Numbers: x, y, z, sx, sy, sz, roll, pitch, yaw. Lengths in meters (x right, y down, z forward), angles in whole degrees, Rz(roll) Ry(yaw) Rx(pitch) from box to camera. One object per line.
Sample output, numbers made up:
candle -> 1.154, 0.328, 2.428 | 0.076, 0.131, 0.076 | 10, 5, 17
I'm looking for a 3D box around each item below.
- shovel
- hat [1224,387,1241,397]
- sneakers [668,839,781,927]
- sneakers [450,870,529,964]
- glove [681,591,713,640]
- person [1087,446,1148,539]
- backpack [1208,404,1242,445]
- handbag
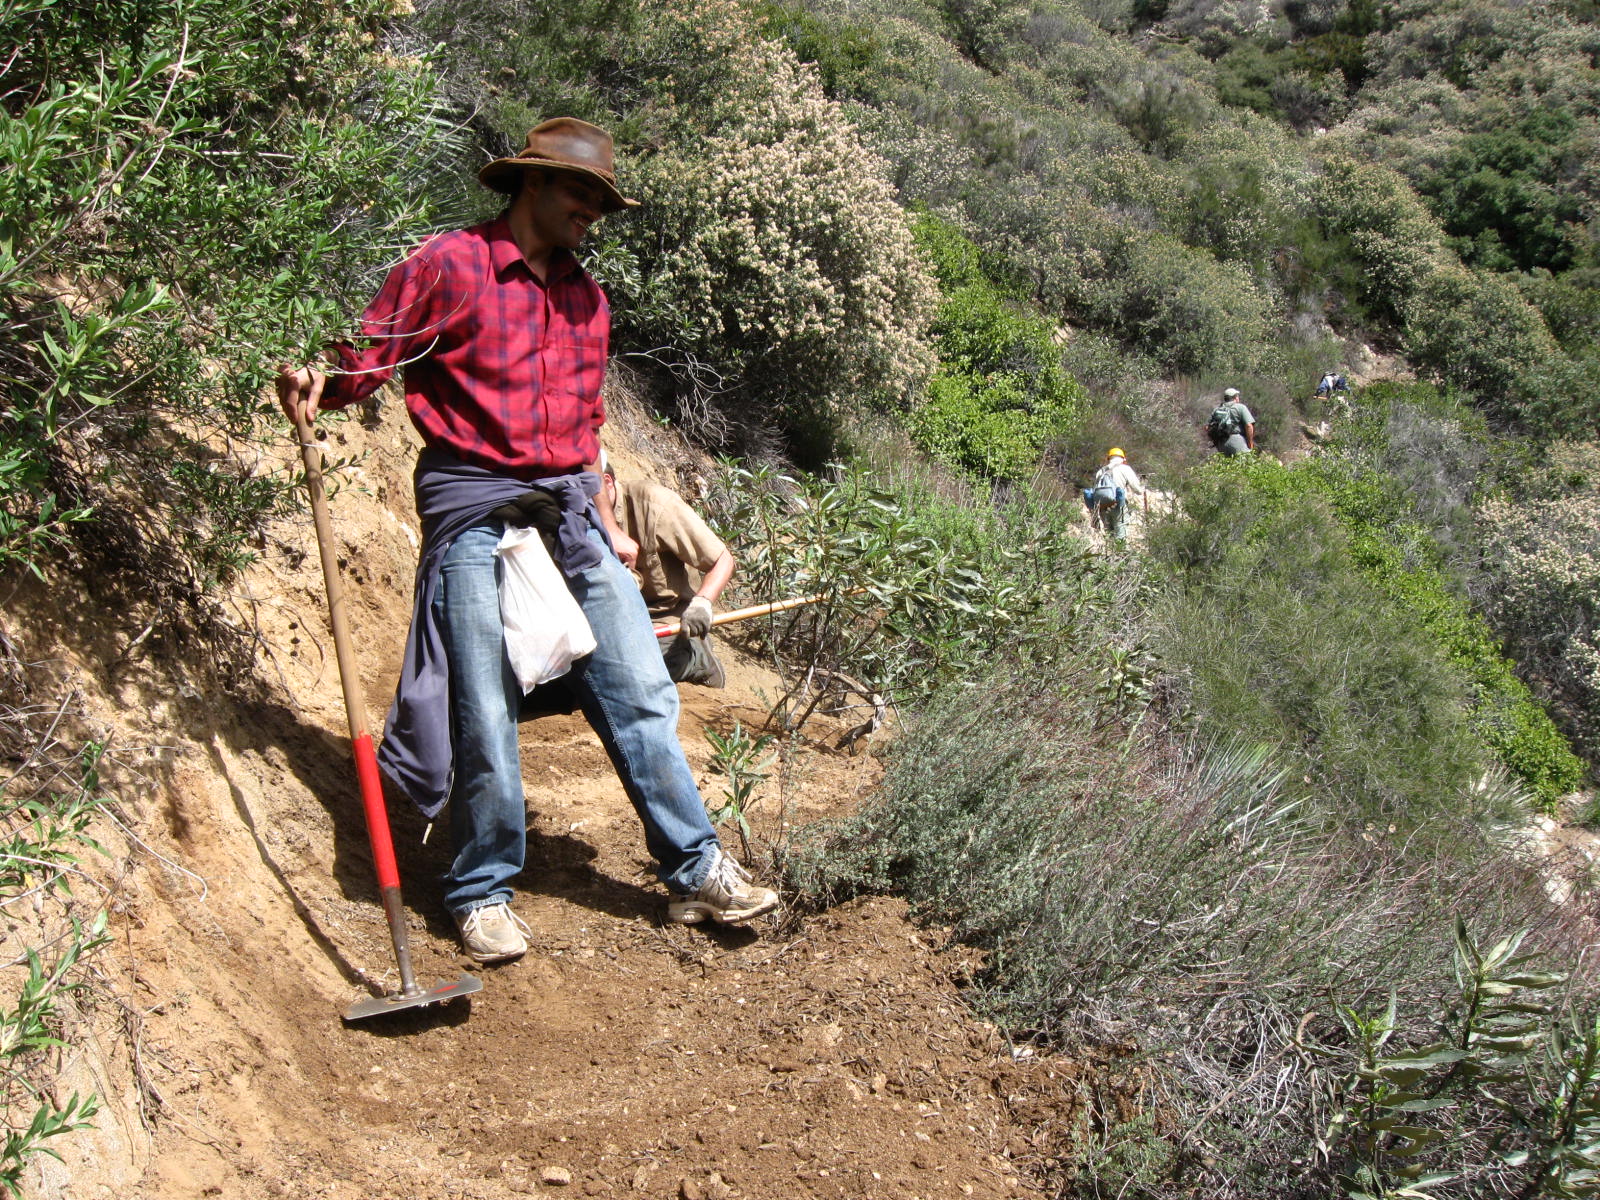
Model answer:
shovel -> -1.525, 0.418, 5.395 | 0.630, 1.943, 1.149 | 0, 21, -22
hat -> 4.839, -2.340, 16.487 | 0.170, 0.133, 0.262 | 2, 10, 10
sneakers -> -0.311, 1.122, 5.872 | 0.432, 0.317, 0.242 | 1, 7, -5
sneakers -> -1.190, 1.187, 5.540 | 0.338, 0.154, 0.173 | 25, 15, 41
glove -> -0.463, 0.067, 6.546 | 0.122, 0.183, 0.057 | -21, 19, -38
person -> 2.956, -0.832, 13.800 | 0.562, 0.629, 1.404 | -2, 34, 10
backpack -> 4.709, -1.919, 16.411 | 0.272, 0.414, 0.402 | -3, 49, 9
handbag -> -0.969, 0.062, 5.472 | 0.333, 0.620, 0.236 | -18, 2, -17
